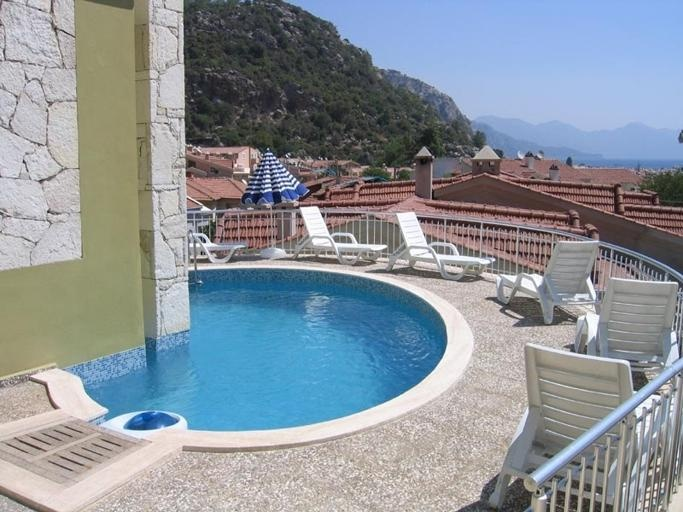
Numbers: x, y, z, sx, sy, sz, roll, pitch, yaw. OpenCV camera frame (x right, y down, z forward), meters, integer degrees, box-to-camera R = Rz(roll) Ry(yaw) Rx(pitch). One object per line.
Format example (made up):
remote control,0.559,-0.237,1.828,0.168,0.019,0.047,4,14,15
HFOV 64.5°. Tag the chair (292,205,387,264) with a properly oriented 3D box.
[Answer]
chair,-0.003,-0.446,11.805,1.961,1.292,1.189,3,9,23

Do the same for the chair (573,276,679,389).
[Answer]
chair,3.147,0.684,5.966,0.824,0.972,1.362,2,7,9

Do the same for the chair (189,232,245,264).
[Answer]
chair,-2.779,-0.128,11.579,1.027,0.427,0.771,-1,6,-2

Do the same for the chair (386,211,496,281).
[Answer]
chair,1.854,-0.156,10.494,1.923,1.316,1.208,4,9,32

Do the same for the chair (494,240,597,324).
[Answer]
chair,3.058,0.267,7.804,0.913,1.164,1.146,-2,11,-12

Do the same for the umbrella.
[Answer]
umbrella,-1.877,-2.099,14.564,1.566,1.456,1.021,-1,11,-11
